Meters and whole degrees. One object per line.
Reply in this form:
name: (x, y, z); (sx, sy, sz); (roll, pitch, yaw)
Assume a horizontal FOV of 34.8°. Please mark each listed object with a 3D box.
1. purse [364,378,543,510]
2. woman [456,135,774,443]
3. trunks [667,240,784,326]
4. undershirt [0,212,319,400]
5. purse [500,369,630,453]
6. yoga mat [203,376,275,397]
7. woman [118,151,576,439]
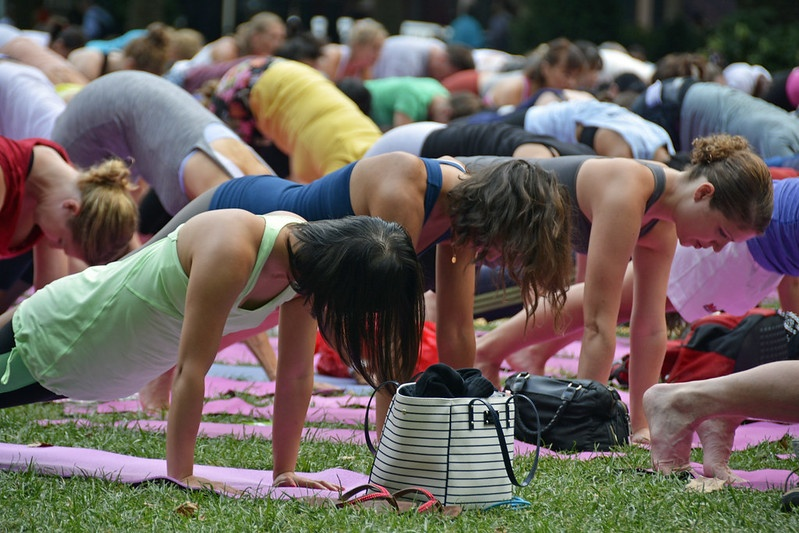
purse: (0.419, 0.989, 7.001); (0.589, 0.511, 0.628); (-10, -17, 39)
woman: (1.228, 0.110, 8.115); (2.309, 1.846, 0.767); (6, 3, 43)
trunks: (2.116, 0.119, 8.440); (0.529, 0.307, 0.532); (20, -42, -31)
undershirt: (-1.310, 0.263, 7.168); (1.599, 0.661, 0.877); (-3, -9, 17)
purse: (1.017, 0.858, 7.824); (0.607, 0.344, 0.441); (2, 1, 29)
yoga mat: (-1.114, 0.820, 8.725); (0.335, 0.071, 0.213); (7, 20, -43)
woman: (-0.461, 0.181, 7.885); (2.895, 1.701, 0.989); (0, 8, 17)
